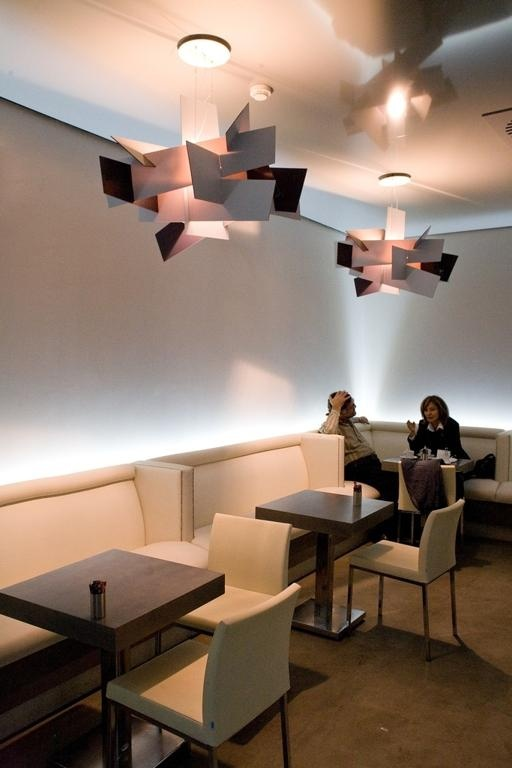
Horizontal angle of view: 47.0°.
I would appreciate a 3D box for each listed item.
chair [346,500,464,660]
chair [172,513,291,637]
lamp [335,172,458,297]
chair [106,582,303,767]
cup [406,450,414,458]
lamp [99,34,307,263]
[{"bbox_3d":[0.763,0.922,2.979,0.514,0.708,0.466,3,4,26],"label":"chair"},{"bbox_3d":[-0.128,0.735,2.411,0.353,0.510,0.401,1,-4,34],"label":"chair"},{"bbox_3d":[0.856,-0.924,3.650,0.739,0.671,0.780,-2,15,-3],"label":"lamp"},{"bbox_3d":[-0.143,0.777,1.718,0.465,0.265,0.377,1,0,39],"label":"chair"},{"bbox_3d":[1.196,0.541,4.545,0.055,0.037,0.047,-5,-3,16],"label":"cup"},{"bbox_3d":[-0.209,-0.773,1.943,0.651,0.550,0.662,2,8,29],"label":"lamp"}]
